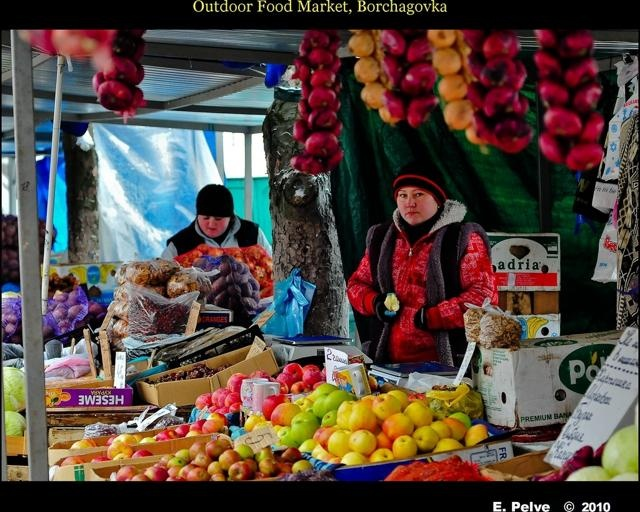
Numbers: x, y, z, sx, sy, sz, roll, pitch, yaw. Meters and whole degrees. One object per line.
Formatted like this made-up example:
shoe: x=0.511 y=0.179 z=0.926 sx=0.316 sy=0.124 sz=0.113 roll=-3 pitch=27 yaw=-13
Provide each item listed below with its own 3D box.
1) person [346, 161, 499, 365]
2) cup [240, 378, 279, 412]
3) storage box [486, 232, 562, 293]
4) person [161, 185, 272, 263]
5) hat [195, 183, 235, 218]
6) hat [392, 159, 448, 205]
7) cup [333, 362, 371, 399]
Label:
person: x=0.804 y=0.160 z=4.751 sx=0.808 sy=1.799 sz=0.670 roll=0 pitch=-1 yaw=-38
cup: x=-0.346 y=0.750 z=3.351 sx=0.208 sy=0.156 sz=0.130 roll=-1 pitch=-4 yaw=41
storage box: x=1.670 y=0.044 z=5.131 sx=0.556 sy=0.493 sz=0.528 roll=3 pitch=7 yaw=16
person: x=-1.291 y=-0.402 z=7.359 sx=1.071 sy=0.932 sz=0.688 roll=-4 pitch=8 yaw=-29
hat: x=-1.176 y=-0.594 z=6.973 sx=0.363 sy=0.325 sz=0.382 roll=5 pitch=-2 yaw=0
hat: x=0.765 y=-0.570 z=4.716 sx=0.346 sy=0.336 sz=0.282 roll=5 pitch=11 yaw=33
cup: x=0.166 y=0.632 z=3.170 sx=0.120 sy=0.136 sz=0.189 roll=-10 pitch=-2 yaw=-17
